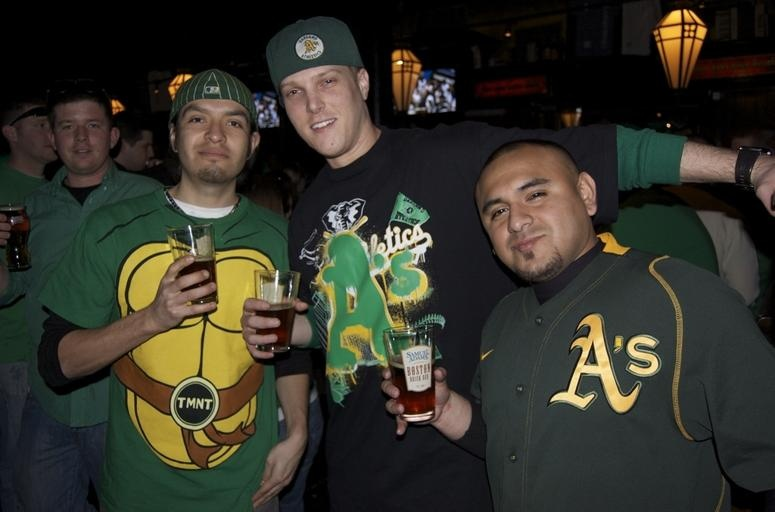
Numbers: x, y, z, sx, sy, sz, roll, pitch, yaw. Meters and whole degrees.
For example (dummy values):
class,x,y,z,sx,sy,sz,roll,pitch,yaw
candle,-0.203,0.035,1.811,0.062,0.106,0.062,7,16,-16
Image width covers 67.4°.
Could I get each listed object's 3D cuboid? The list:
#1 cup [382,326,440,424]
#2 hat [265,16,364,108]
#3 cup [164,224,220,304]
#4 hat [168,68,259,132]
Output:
class,x,y,z,sx,sy,sz,roll,pitch,yaw
cup,0.131,0.638,3.115,0.255,0.508,0.181,-5,16,0
hat,-0.365,-1.385,3.891,0.693,0.361,0.620,-19,10,-17
cup,-1.110,0.051,3.387,0.247,0.471,0.230,-5,16,1
hat,-1.218,-1.155,4.122,0.490,0.305,0.513,-24,-11,33
